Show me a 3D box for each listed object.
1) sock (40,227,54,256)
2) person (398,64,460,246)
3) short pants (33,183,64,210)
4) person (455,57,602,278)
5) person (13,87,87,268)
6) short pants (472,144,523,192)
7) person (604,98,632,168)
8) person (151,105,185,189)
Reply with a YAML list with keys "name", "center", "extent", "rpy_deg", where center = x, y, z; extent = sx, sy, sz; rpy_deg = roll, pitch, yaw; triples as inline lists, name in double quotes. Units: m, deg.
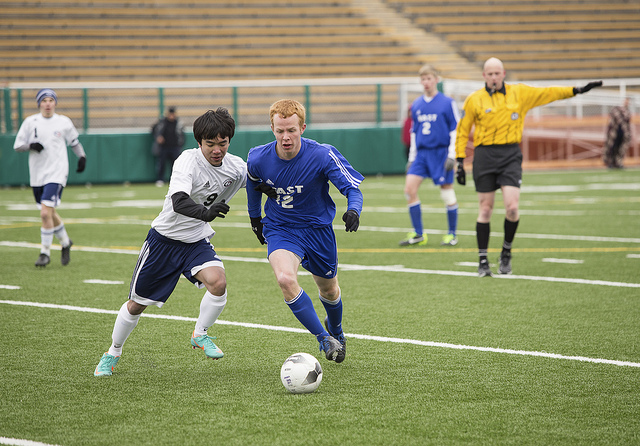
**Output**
- name: "sock"
  center: [-4.219, 0.273, 12.884]
  extent: [0.202, 0.464, 0.263]
  rpy_deg: [-5, 8, -36]
- name: "person"
  center: [1.806, -1.097, 13.981]
  extent: [0.974, 3.020, 0.783]
  rpy_deg: [0, 4, 10]
- name: "short pants"
  center: [-4.236, -0.416, 12.942]
  extent: [0.527, 0.428, 0.312]
  rpy_deg: [-4, -9, 33]
- name: "person"
  center: [2.593, -0.762, 11.707]
  extent: [1.388, 3.025, 0.536]
  rpy_deg: [1, 6, 9]
- name: "person"
  center: [-4.212, -0.709, 12.943]
  extent: [0.954, 2.702, 0.625]
  rpy_deg: [-3, 7, -21]
- name: "short pants"
  center: [2.461, -0.832, 11.752]
  extent: [0.652, 0.679, 0.424]
  rpy_deg: [-1, 15, 17]
- name: "person"
  center: [8.388, -2.436, 23.636]
  extent: [0.643, 1.745, 0.743]
  rpy_deg: [2, 7, 19]
- name: "person"
  center: [-4.144, -2.079, 23.058]
  extent: [0.873, 2.357, 0.748]
  rpy_deg: [0, -13, -11]
